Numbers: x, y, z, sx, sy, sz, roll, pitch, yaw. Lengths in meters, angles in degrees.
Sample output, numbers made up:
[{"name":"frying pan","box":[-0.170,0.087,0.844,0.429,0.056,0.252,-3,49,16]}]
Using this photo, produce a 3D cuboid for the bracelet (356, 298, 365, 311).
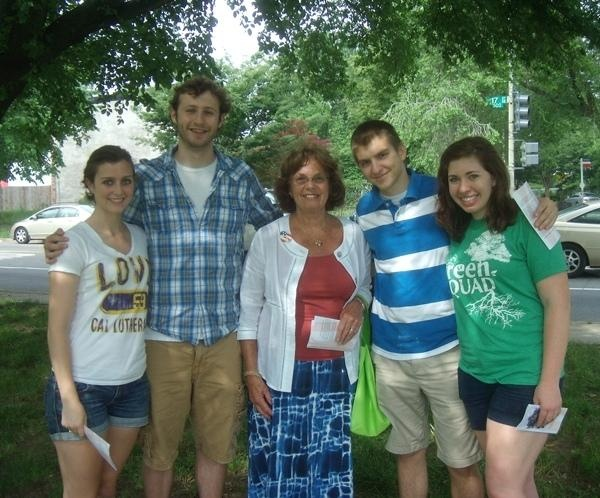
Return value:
[{"name":"bracelet","box":[0.409,0.367,4.101,0.045,0.080,0.053,-8,-3,14]}]

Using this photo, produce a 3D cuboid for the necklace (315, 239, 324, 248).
[{"name":"necklace","box":[0.125,-0.038,4.105,0.036,0.047,0.014,-2,-21,-4]}]
